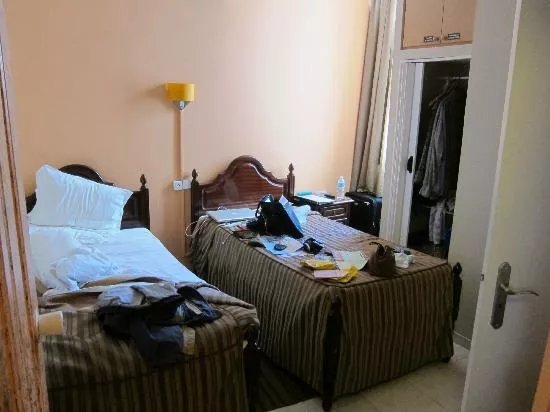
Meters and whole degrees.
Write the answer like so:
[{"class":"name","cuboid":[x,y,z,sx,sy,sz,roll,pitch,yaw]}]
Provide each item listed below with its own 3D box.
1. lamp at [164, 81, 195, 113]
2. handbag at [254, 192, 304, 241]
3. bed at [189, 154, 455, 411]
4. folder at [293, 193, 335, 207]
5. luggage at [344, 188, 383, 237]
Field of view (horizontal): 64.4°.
[{"class":"lamp","cuboid":[-0.831,-0.967,3.867,0.236,0.288,0.245,6,15,9]},{"class":"handbag","cuboid":[0.023,0.087,3.671,0.396,0.459,0.314,13,13,24]},{"class":"bed","cuboid":[0.234,0.567,3.593,1.309,1.357,2.007,-12,22,-31]},{"class":"folder","cuboid":[0.429,-0.069,4.530,0.190,0.051,0.204,-10,17,-36]},{"class":"luggage","cuboid":[0.963,0.111,4.893,0.362,0.573,0.346,14,23,23]}]
